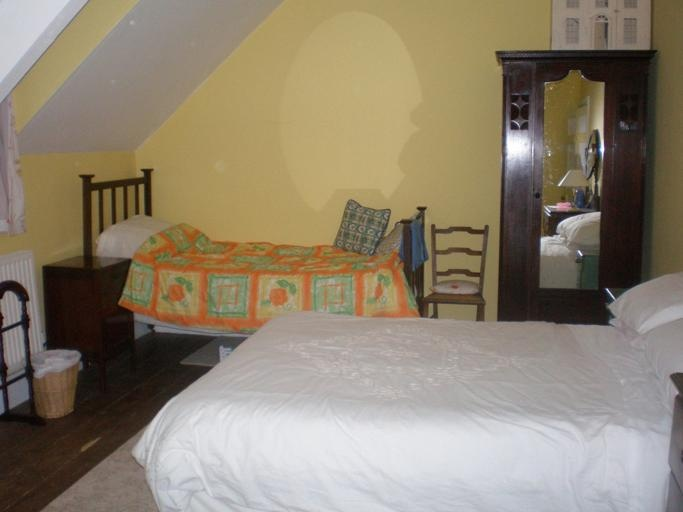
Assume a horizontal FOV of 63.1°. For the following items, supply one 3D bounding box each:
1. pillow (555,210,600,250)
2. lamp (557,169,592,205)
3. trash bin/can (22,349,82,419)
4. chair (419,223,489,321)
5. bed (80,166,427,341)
[{"bbox_3d":[1.894,-0.197,4.460,0.285,0.276,0.088,-9,4,11],"label":"pillow"},{"bbox_3d":[1.834,-0.543,4.362,0.231,0.265,0.236,-4,5,-43],"label":"lamp"},{"bbox_3d":[-1.838,0.826,3.659,0.338,0.375,0.354,3,4,-11],"label":"trash bin/can"},{"bbox_3d":[0.953,0.265,4.597,0.499,0.980,0.588,2,8,14],"label":"chair"},{"bbox_3d":[-0.604,-0.254,4.464,2.108,1.219,1.335,1,16,5],"label":"bed"}]
